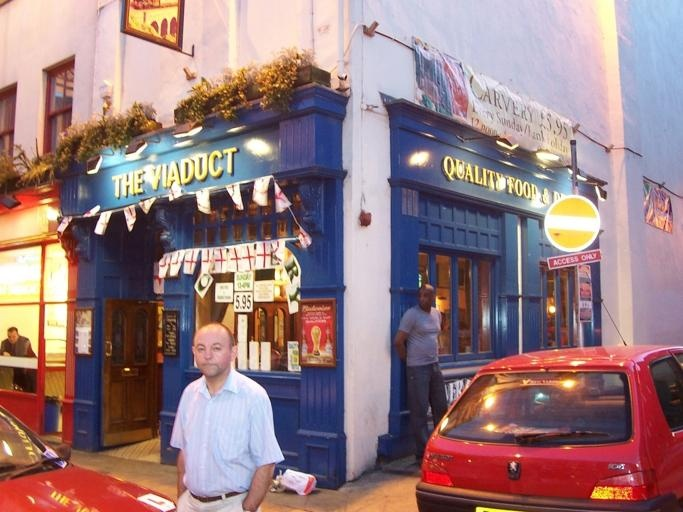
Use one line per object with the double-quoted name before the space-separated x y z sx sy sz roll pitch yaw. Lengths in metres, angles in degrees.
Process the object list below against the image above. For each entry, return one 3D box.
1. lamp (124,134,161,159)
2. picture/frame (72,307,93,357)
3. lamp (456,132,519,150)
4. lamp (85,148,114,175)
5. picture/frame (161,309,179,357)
"lamp" -3.229 -1.765 10.778 0.562 0.236 0.331 -17 14 30
"picture/frame" -4.486 1.319 11.521 0.674 1.088 0.096 -9 -11 43
"lamp" 2.446 -1.897 10.935 0.168 0.108 1.150 -30 -21 37
"lamp" -4.161 -1.630 11.387 0.399 0.438 0.104 -4 -24 30
"picture/frame" -2.696 1.206 10.461 0.087 1.247 0.591 4 -10 -36
